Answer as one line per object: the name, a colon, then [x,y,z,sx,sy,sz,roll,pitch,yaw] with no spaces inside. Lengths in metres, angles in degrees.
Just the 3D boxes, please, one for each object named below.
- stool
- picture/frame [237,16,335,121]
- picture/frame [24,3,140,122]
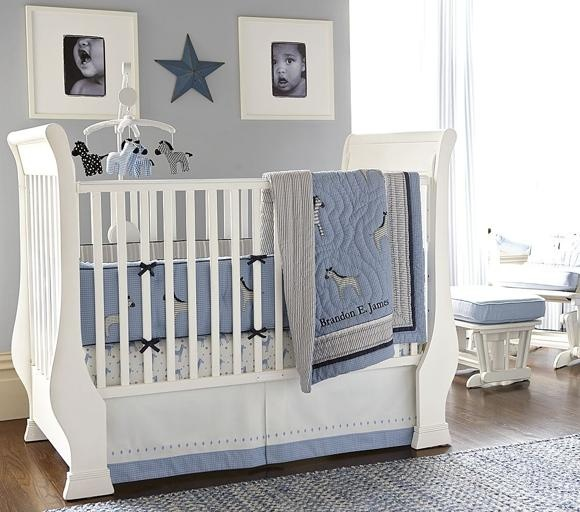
stool: [1.029,0.419,3.673,0.412,0.495,0.709,12,-8,-11]
picture/frame: [-0.053,-1.019,3.506,0.553,0.601,0.020,-1,3,-12]
picture/frame: [-1.027,-0.927,3.130,0.621,0.639,0.023,0,0,-23]
